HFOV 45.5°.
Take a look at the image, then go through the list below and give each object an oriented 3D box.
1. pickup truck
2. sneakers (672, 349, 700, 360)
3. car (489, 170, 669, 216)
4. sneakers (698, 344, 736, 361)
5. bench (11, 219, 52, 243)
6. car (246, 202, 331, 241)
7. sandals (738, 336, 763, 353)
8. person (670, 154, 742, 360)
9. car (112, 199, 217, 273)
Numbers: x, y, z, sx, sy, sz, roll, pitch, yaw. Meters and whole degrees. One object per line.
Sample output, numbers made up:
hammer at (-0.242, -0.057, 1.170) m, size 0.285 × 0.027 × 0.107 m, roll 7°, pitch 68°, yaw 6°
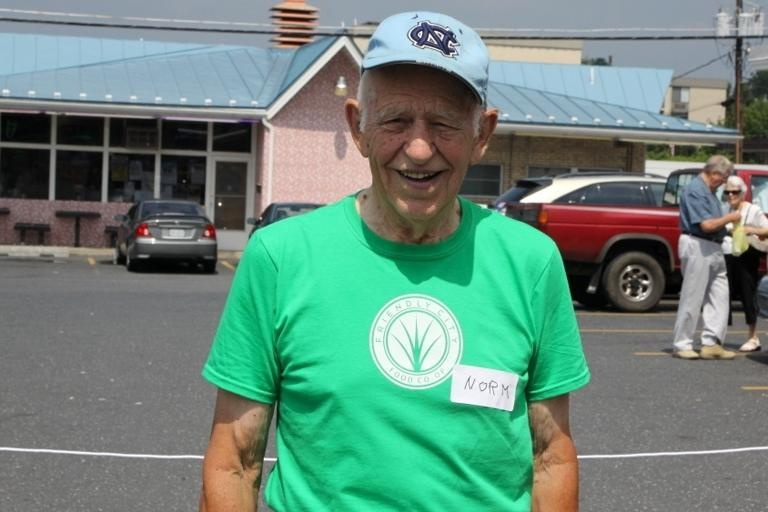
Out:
pickup truck at (3.810, -0.238, 15.541) m, size 4.181 × 1.698 × 2.277 m, roll -5°, pitch 4°, yaw -14°
sneakers at (3.884, 1.266, 11.824) m, size 0.136 × 0.115 × 0.263 m, roll 1°, pitch -3°, yaw -27°
car at (3.287, -1.121, 15.541) m, size 2.774 × 1.074 × 1.337 m, roll -7°, pitch 6°, yaw -9°
sneakers at (4.296, 1.235, 11.917) m, size 0.523 × 0.254 × 0.194 m, roll -1°, pitch 4°, yaw -14°
bench at (-9.324, -0.601, 24.277) m, size 0.893 × 0.601 × 0.745 m, roll 1°, pitch 0°, yaw -22°
car at (-2.256, -0.934, 19.840) m, size 1.002 × 0.786 × 2.179 m, roll -1°, pitch 8°, yaw -14°
sandals at (4.982, 1.205, 12.477) m, size 0.160 × 0.176 × 0.418 m, roll -4°, pitch -3°, yaw 38°
person at (4.095, 0.026, 11.741) m, size 0.694 × 2.623 × 0.523 m, roll 1°, pitch -1°, yaw 9°
car at (-4.858, -0.376, 20.175) m, size 1.427 × 1.061 × 3.046 m, roll 0°, pitch 5°, yaw -12°
